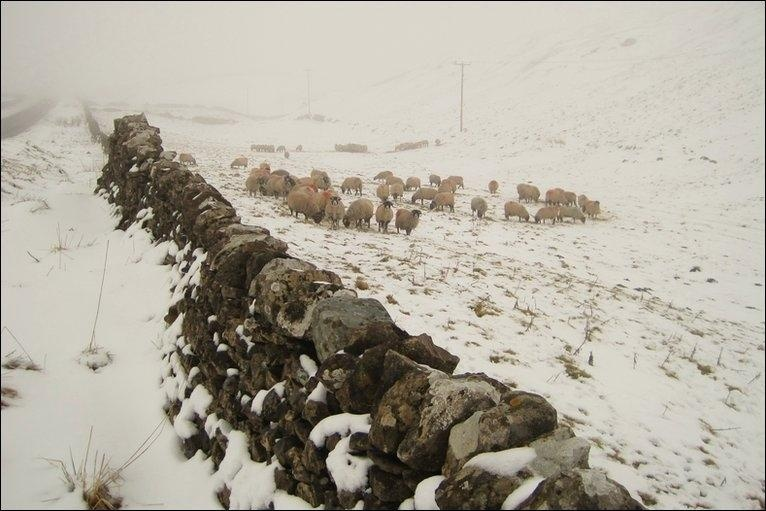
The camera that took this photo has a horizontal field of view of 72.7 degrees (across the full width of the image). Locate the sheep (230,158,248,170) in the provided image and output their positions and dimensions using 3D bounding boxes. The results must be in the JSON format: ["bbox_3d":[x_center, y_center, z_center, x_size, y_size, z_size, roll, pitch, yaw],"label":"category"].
[{"bbox_3d":[-9.589,-6.081,34.402,0.724,0.811,1.678,3,6,10],"label":"sheep"}]
